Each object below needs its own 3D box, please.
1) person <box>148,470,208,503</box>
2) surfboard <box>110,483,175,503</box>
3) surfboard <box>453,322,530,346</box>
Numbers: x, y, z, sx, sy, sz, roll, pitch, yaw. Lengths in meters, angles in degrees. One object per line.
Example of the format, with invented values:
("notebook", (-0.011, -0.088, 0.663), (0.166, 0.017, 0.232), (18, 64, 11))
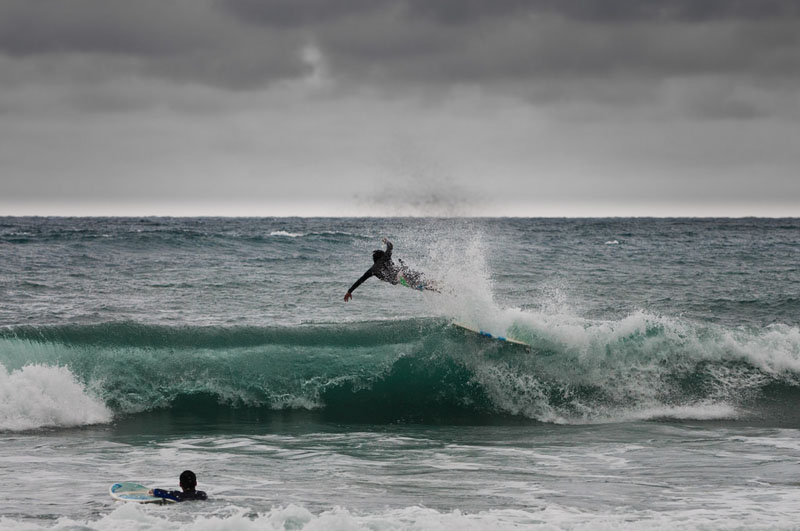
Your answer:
("person", (-6.748, 6.728, 41.617), (1.385, 0.522, 0.979), (-1, -7, 38))
("surfboard", (-7.891, 6.940, 41.570), (1.494, 0.221, 0.756), (4, -3, 13))
("surfboard", (3.273, 2.424, 48.495), (2.112, 0.199, 0.213), (18, 14, 19))
